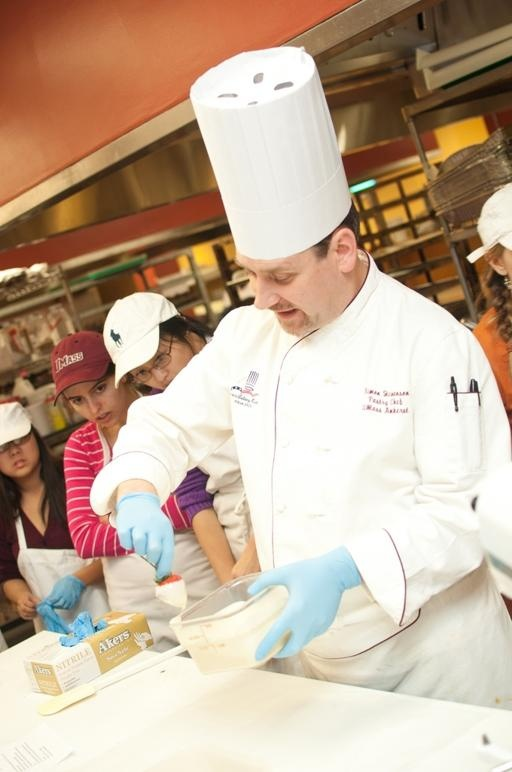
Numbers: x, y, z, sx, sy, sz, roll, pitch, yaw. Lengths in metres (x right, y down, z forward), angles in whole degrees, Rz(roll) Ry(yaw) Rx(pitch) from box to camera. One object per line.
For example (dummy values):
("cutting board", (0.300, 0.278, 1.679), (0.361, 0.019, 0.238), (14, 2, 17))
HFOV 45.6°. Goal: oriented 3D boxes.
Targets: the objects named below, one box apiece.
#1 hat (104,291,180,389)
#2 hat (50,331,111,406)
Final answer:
("hat", (-0.361, -0.174, 1.968), (0.202, 0.182, 0.300), (-24, 29, 40))
("hat", (-0.600, -0.069, 2.107), (0.168, 0.145, 0.254), (-20, 13, 18))
